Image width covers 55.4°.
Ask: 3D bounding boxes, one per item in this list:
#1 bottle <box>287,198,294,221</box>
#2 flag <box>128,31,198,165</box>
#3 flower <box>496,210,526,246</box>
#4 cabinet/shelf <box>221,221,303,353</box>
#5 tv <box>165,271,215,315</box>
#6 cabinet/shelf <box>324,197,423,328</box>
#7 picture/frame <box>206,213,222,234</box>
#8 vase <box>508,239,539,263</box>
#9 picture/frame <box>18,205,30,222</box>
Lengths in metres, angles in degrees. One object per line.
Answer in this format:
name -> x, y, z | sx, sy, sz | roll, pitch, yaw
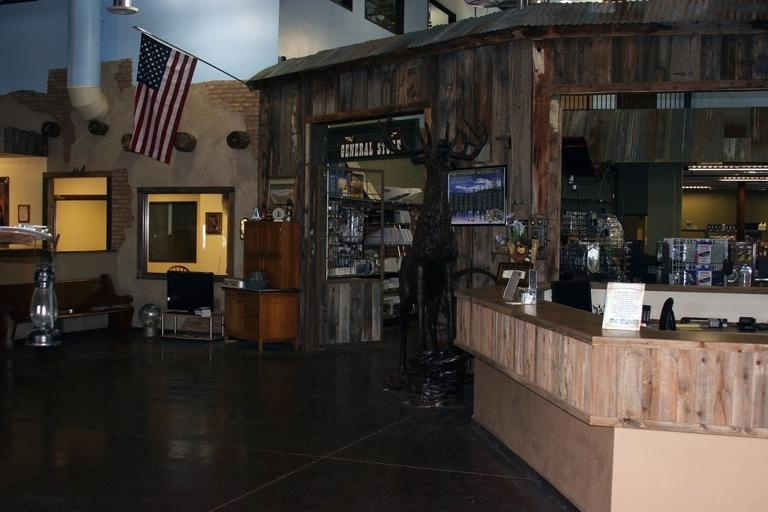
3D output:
bottle -> -1.502, -0.750, 11.777 | 0.112, 0.336, 0.157 | -1, 9, -8
flag -> -3.590, -2.563, 11.824 | 1.007, 2.046, 0.374 | -3, 10, -19
flower -> 1.648, -0.361, 9.317 | 0.409, 0.426, 0.218 | -10, 5, -20
cabinet/shelf -> -1.938, 0.436, 11.776 | 1.205, 2.025, 0.826 | 1, 9, 6
tv -> -3.272, 0.620, 12.424 | 0.678, 0.601, 0.145 | 2, 7, 18
cabinet/shelf -> -0.234, 0.146, 11.940 | 0.819, 2.281, 2.402 | 1, 0, 29
picture/frame -> -3.005, -0.612, 13.042 | 0.339, 0.386, 0.039 | 5, 11, 27
vase -> 1.721, -0.113, 9.123 | 0.347, 0.290, 0.601 | 2, 10, 8
picture/frame -> -6.951, -0.855, 14.169 | 0.306, 0.364, 0.038 | 3, 3, 24
